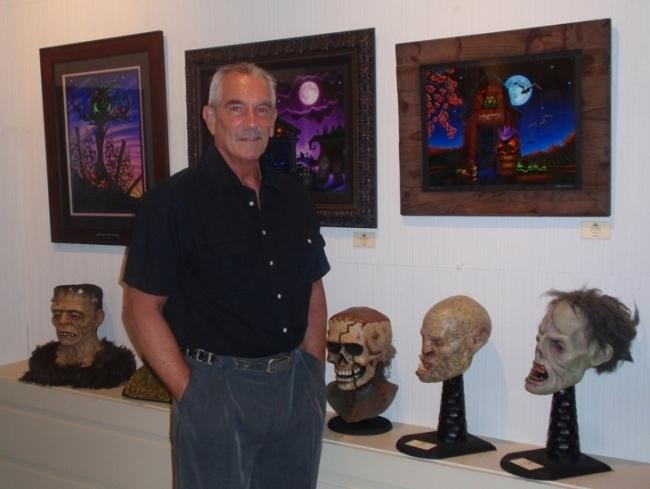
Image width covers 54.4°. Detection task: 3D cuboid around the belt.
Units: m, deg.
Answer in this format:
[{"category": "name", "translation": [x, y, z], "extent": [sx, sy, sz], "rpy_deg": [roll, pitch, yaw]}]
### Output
[{"category": "belt", "translation": [-0.326, 0.445, 2.453], "extent": [0.413, 0.099, 0.075], "rpy_deg": [-1, 6, -13]}]

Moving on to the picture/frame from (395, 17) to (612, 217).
[{"category": "picture/frame", "translation": [0.852, -0.583, 2.897], "extent": [0.868, 0.816, 0.065], "rpy_deg": [1, 3, 21]}]
